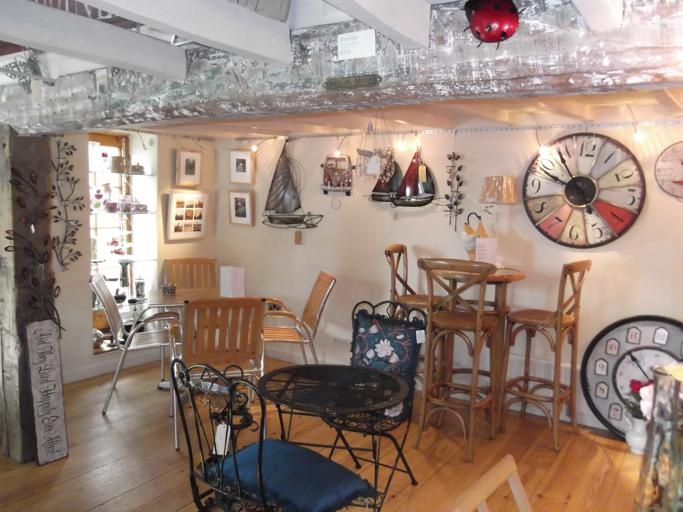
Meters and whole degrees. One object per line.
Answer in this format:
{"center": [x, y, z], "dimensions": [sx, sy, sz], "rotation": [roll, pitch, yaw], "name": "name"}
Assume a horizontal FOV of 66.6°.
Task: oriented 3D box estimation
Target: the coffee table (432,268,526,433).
{"center": [1.311, 0.664, 5.016], "dimensions": [1.004, 1.771, 1.050], "rotation": [2, 2, 13], "name": "coffee table"}

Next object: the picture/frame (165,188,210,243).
{"center": [-1.835, -0.488, 6.108], "dimensions": [0.097, 0.731, 0.642], "rotation": [8, 5, 43], "name": "picture/frame"}

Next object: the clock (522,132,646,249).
{"center": [2.069, -0.561, 4.339], "dimensions": [0.710, 0.721, 0.060], "rotation": [-41, -17, 28], "name": "clock"}

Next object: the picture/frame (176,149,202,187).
{"center": [-1.794, -1.037, 6.046], "dimensions": [0.057, 0.456, 0.403], "rotation": [5, 8, 37], "name": "picture/frame"}

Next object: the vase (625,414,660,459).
{"center": [2.315, 1.406, 4.119], "dimensions": [0.132, 0.300, 0.401], "rotation": [0, -5, 19], "name": "vase"}

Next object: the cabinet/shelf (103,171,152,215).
{"center": [-2.380, -0.684, 5.794], "dimensions": [0.487, 0.494, 0.403], "rotation": [3, -5, -24], "name": "cabinet/shelf"}

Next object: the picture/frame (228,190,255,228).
{"center": [-1.185, -0.576, 6.200], "dimensions": [0.368, 0.464, 0.057], "rotation": [12, 19, 38], "name": "picture/frame"}

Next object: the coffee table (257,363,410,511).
{"center": [0.015, 1.016, 3.238], "dimensions": [0.914, 0.733, 0.916], "rotation": [3, 5, 33], "name": "coffee table"}

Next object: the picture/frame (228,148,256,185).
{"center": [-1.161, -1.059, 6.123], "dimensions": [0.387, 0.411, 0.054], "rotation": [7, 11, 38], "name": "picture/frame"}
